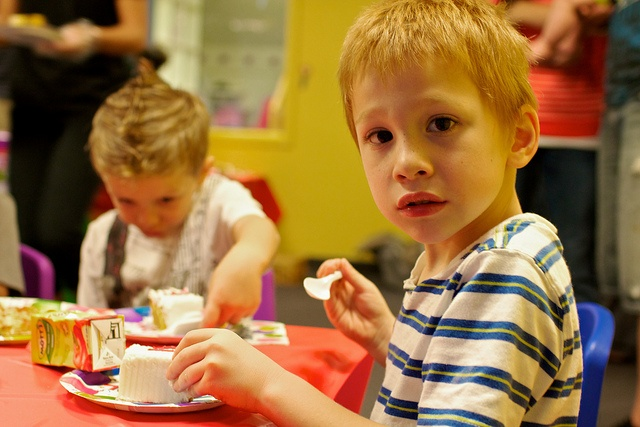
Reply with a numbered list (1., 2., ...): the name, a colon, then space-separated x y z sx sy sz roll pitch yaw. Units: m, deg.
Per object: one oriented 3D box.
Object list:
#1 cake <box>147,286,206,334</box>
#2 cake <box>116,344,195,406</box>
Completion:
1. cake: -0.341 0.215 1.605 0.095 0.064 0.130 1 9 -28
2. cake: -0.325 0.294 1.228 0.120 0.087 0.098 3 4 -5
